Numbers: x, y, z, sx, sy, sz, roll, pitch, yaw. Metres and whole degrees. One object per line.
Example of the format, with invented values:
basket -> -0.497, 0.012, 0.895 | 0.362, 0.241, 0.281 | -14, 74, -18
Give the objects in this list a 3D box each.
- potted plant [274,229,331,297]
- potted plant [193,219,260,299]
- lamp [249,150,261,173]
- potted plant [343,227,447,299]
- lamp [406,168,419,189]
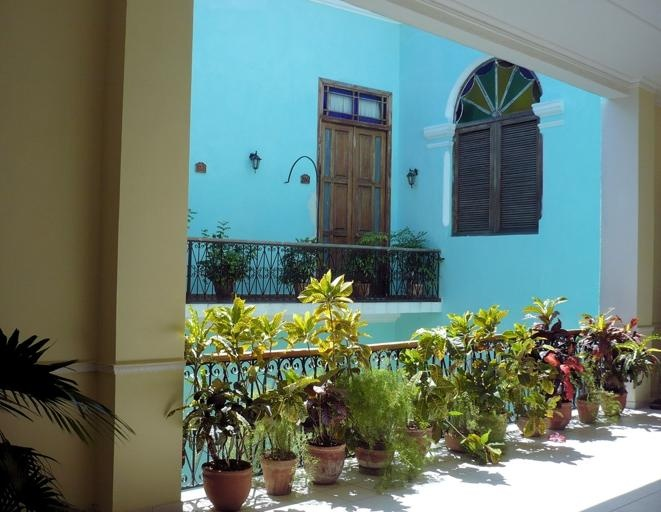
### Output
potted plant -> -0.635, 0.266, 10.248 | 0.501, 0.908, 0.465 | -4, -18, -32
potted plant -> -1.717, 0.071, 9.685 | 0.667, 1.255, 0.784 | -2, -8, -10
lamp -> -1.267, -1.600, 10.226 | 0.237, 0.352, 0.150 | -1, 7, -30
potted plant -> 1.066, 0.240, 11.160 | 1.728, 1.504, 1.036 | 2, -4, -23
lamp -> 1.521, -1.476, 11.450 | 0.130, 0.374, 0.341 | -1, 8, -31
